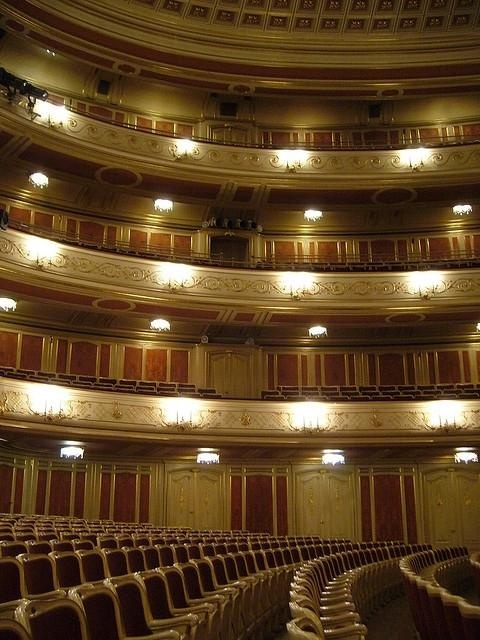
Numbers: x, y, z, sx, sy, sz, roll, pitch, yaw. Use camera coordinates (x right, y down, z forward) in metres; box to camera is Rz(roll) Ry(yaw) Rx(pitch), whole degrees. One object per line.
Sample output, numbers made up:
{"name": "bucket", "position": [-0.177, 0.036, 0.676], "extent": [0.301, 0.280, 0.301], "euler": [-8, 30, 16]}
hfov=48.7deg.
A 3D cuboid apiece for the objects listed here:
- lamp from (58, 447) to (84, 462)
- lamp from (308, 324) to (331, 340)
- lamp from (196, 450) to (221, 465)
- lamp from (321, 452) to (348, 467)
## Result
{"name": "lamp", "position": [-4.938, 3.741, 15.132], "extent": [0.835, 0.560, 0.283], "euler": [1, 3, 4]}
{"name": "lamp", "position": [2.415, 0.321, 16.930], "extent": [0.552, 0.120, 0.524], "euler": [6, -20, -7]}
{"name": "lamp", "position": [-1.037, 4.082, 15.843], "extent": [0.599, 0.340, 0.578], "euler": [10, -19, -34]}
{"name": "lamp", "position": [2.867, 4.242, 16.406], "extent": [0.727, 0.518, 0.894], "euler": [-1, -10, 8]}
